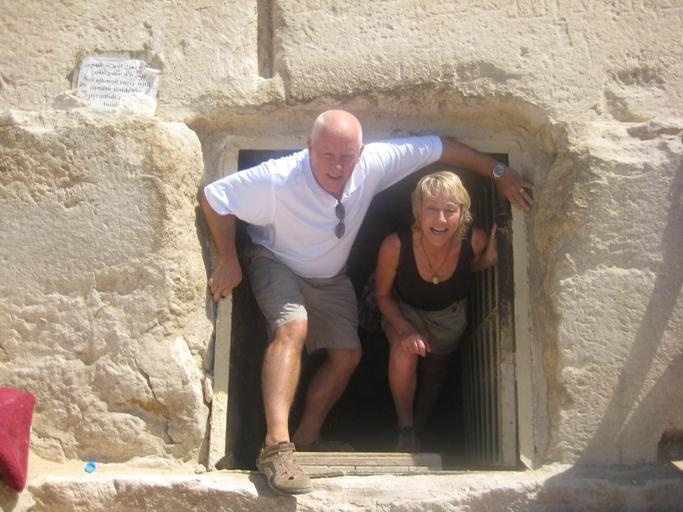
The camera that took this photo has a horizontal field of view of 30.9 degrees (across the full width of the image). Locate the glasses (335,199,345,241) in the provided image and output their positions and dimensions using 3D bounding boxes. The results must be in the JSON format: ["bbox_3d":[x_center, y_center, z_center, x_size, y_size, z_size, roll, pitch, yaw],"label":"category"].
[{"bbox_3d":[-0.016,-0.160,5.710,0.038,0.200,0.059,7,26,12],"label":"glasses"}]

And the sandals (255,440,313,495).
[{"bbox_3d":[-0.265,0.894,5.330,0.127,0.140,0.292,0,16,-41],"label":"sandals"}]

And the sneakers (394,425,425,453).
[{"bbox_3d":[0.326,0.886,6.006,0.159,0.161,0.354,0,-11,5],"label":"sneakers"}]

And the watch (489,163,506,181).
[{"bbox_3d":[0.722,-0.398,5.832,0.068,0.074,0.047,18,2,28],"label":"watch"}]

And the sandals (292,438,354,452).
[{"bbox_3d":[-0.096,0.910,5.863,0.281,0.118,0.097,-1,-12,3],"label":"sandals"}]
